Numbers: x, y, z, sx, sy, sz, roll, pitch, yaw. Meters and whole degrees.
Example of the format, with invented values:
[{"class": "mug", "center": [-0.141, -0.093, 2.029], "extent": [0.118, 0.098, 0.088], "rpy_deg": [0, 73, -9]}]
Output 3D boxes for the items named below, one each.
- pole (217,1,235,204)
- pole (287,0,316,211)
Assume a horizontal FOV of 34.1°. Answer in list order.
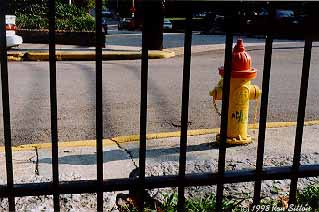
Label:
[{"class": "pole", "center": [0.742, -0.032, 5.755], "extent": [0.181, 2.220, 0.328], "rpy_deg": [1, 10, 13]}, {"class": "pole", "center": [1.597, 0.006, 5.806], "extent": [0.225, 2.338, 0.127], "rpy_deg": [-1, 10, 2]}]
